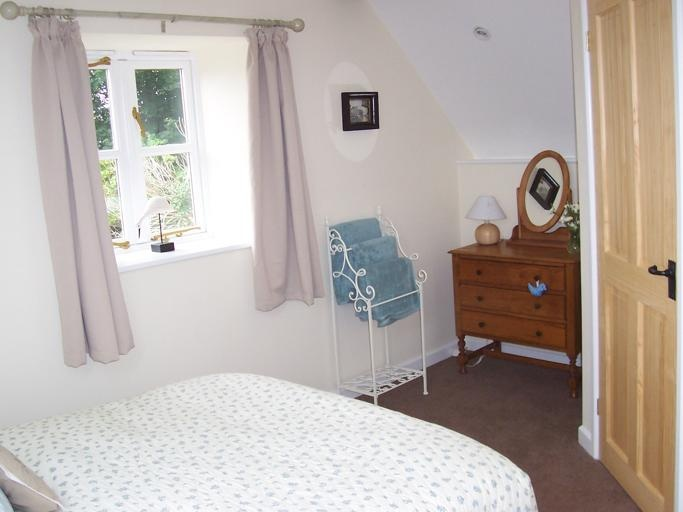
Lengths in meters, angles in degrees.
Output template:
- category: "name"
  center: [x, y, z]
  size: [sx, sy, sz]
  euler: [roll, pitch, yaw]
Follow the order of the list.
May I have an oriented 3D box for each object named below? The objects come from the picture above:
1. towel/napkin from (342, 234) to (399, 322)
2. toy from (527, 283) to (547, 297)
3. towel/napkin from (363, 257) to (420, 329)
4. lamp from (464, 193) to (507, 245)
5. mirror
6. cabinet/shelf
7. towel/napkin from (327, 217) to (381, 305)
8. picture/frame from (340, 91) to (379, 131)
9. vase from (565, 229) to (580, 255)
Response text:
- category: "towel/napkin"
  center: [0.245, 0.159, 3.577]
  size: [0.453, 0.505, 0.294]
  euler: [-11, 14, -32]
- category: "toy"
  center: [1.306, 0.224, 3.640]
  size: [0.127, 0.097, 0.041]
  euler: [7, 16, 41]
- category: "towel/napkin"
  center: [0.307, 0.221, 3.602]
  size: [0.424, 0.450, 0.138]
  euler: [-17, 17, -38]
- category: "lamp"
  center: [1.100, -0.277, 4.116]
  size: [0.278, 0.366, 0.395]
  euler: [1, 13, 21]
- category: "mirror"
  center: [1.472, -0.458, 3.939]
  size: [0.031, 0.621, 0.444]
  euler: [1, 16, -45]
- category: "cabinet/shelf"
  center: [1.354, 0.424, 4.031]
  size: [0.563, 0.980, 0.928]
  euler: [-17, 15, -43]
- category: "towel/napkin"
  center: [0.075, 0.032, 3.610]
  size: [0.439, 0.526, 0.114]
  euler: [0, -1, -34]
- category: "picture/frame"
  center: [0.108, -0.972, 3.657]
  size: [0.260, 0.231, 0.028]
  euler: [-8, 12, -37]
- category: "vase"
  center: [1.530, -0.091, 3.594]
  size: [0.067, 0.154, 0.081]
  euler: [1, 12, 19]
